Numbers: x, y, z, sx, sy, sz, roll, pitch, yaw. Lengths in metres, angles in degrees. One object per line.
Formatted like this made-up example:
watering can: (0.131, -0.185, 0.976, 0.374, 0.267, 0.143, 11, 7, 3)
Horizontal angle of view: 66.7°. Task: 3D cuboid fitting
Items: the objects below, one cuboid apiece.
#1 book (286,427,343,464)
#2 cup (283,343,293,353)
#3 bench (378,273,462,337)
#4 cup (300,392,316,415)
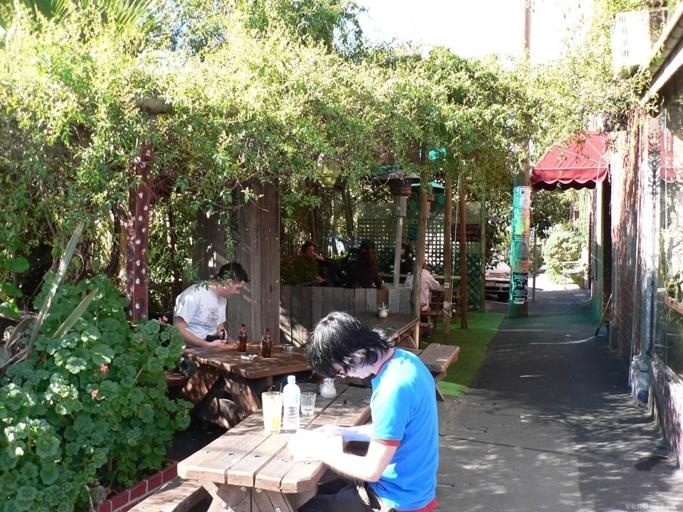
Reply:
book: (-0.141, 1.012, 2.851, 0.187, 0.091, 0.205, -1, 6, 25)
cup: (-0.548, 0.899, 5.225, 0.084, 0.077, 0.094, 0, -8, 0)
bench: (1.725, 0.755, 10.124, 1.124, 0.841, 1.210, 4, 9, 31)
cup: (-0.234, 1.010, 3.677, 0.133, 0.156, 0.134, 0, -3, 0)
